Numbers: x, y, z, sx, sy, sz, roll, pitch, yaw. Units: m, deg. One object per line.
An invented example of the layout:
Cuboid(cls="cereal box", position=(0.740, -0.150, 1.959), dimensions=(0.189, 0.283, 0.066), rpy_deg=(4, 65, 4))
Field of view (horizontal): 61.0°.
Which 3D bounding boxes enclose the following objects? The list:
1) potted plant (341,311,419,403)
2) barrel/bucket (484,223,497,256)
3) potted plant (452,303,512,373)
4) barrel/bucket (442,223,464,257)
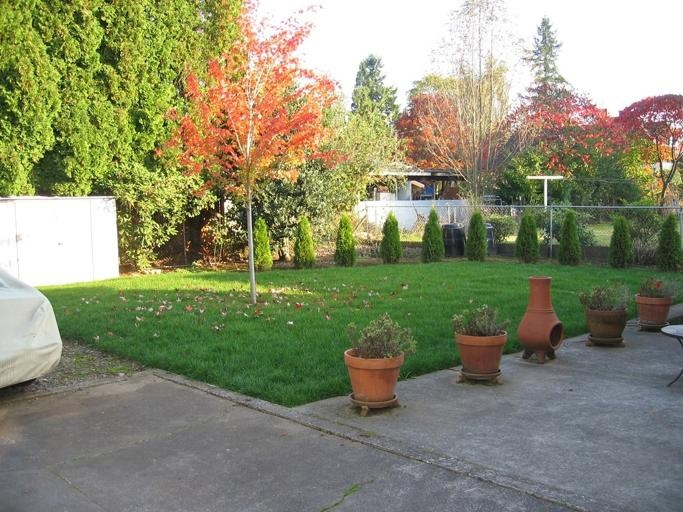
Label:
Cuboid(cls="potted plant", position=(0.408, 1.104, 6.294), dimensions=(0.733, 0.927, 0.582), rpy_deg=(1, 8, 7))
Cuboid(cls="barrel/bucket", position=(5.582, -0.681, 21.585), dimensions=(0.382, 1.104, 2.606), rpy_deg=(2, 8, 14))
Cuboid(cls="potted plant", position=(1.701, 1.013, 7.113), dimensions=(0.630, 0.914, 0.715), rpy_deg=(4, -12, -11))
Cuboid(cls="barrel/bucket", position=(4.073, -0.602, 21.203), dimensions=(0.909, 1.053, 1.007), rpy_deg=(0, 0, -6))
